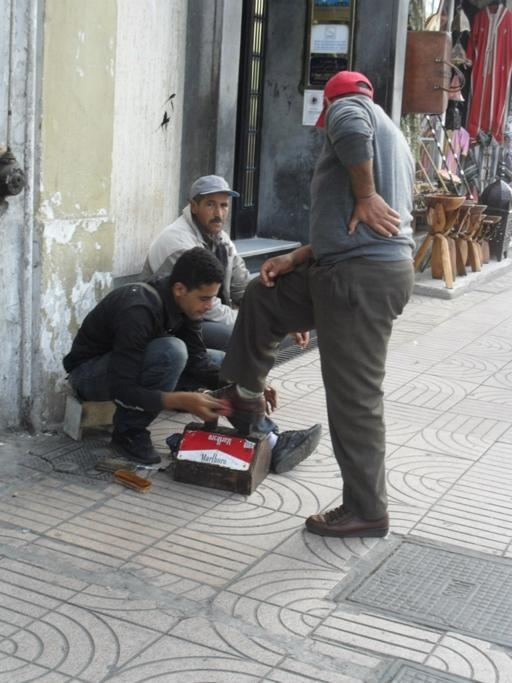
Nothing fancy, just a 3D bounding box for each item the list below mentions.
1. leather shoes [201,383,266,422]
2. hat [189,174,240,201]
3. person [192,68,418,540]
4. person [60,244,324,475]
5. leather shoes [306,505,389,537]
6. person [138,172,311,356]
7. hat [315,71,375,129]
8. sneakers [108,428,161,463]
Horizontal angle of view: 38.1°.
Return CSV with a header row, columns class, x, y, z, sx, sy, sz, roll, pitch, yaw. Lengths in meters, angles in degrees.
class,x,y,z,sx,sy,sz,roll,pitch,yaw
leather shoes,-0.076,0.251,3.261,0.335,0.123,0.105,12,19,17
hat,-0.239,-0.867,4.110,0.182,0.102,0.236,-6,-6,-43
person,0.280,-0.128,2.941,0.449,1.790,0.630,-2,10,-36
person,-0.299,0.097,3.608,1.383,1.006,0.752,12,17,5
leather shoes,0.352,0.724,2.983,0.359,0.125,0.119,4,1,-2
person,-0.255,-0.445,4.237,0.949,0.944,0.722,3,8,21
hat,0.318,-0.908,2.752,0.198,0.195,0.175,6,8,22
sneakers,-0.562,0.476,3.573,0.289,0.175,0.108,13,27,11
